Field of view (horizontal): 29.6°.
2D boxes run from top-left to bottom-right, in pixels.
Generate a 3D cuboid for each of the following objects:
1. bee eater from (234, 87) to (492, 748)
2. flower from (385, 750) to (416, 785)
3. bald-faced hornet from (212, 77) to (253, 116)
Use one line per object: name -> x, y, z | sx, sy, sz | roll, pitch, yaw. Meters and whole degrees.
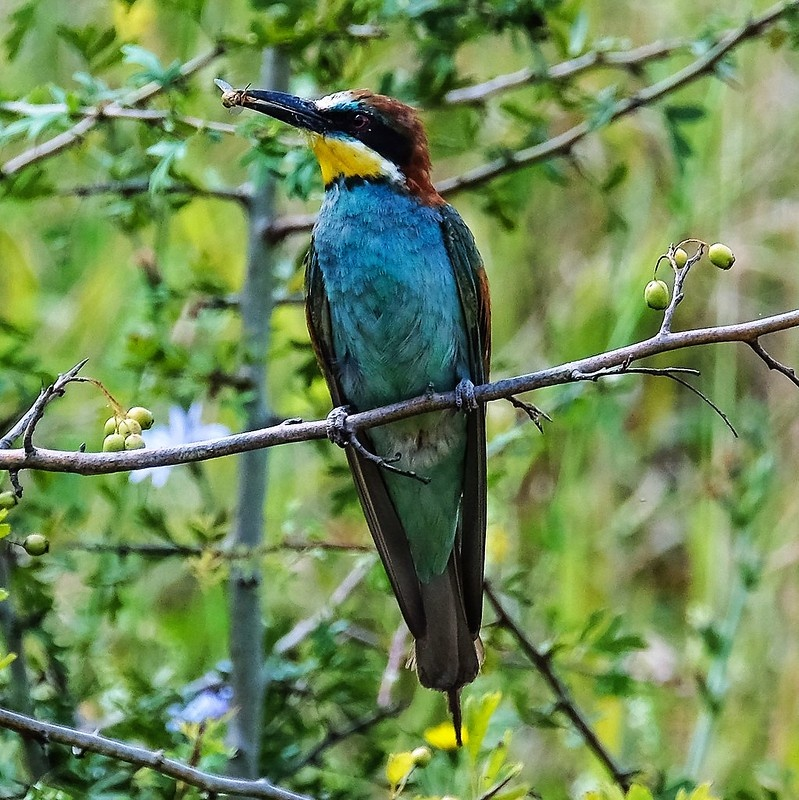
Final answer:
bee eater -> 0.011, 0.219, 5.045 | 0.577, 0.845, 2.499 | -8, -85, 3
flower -> 0.006, 0.984, 4.006 | 0.096, 0.067, 0.030 | -63, -26, -2
bald-faced hornet -> -0.513, -0.951, 4.795 | 0.112, 0.132, 0.076 | 12, -80, -51
